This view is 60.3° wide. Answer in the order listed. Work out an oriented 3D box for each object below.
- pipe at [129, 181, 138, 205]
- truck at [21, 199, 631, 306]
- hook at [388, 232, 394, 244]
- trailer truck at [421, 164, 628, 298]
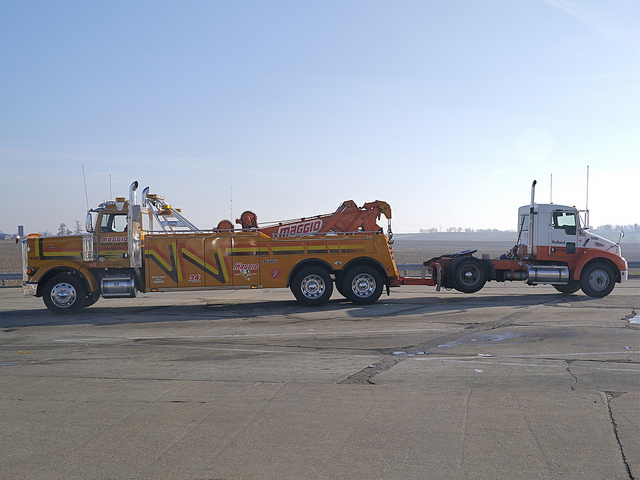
[{"bbox_3d":[-5.678,-1.379,16.688,0.203,0.645,0.272,-1,3,2],"label":"pipe"},{"bbox_3d":[-0.046,0.743,17.888,15.439,3.788,3.400,0,-1,-6],"label":"truck"},{"bbox_3d":[2.228,-0.046,17.694,0.226,0.411,0.159,-2,1,37],"label":"hook"},{"bbox_3d":[7.715,-0.047,19.669,5.996,4.013,1.450,-1,3,6],"label":"trailer truck"}]
